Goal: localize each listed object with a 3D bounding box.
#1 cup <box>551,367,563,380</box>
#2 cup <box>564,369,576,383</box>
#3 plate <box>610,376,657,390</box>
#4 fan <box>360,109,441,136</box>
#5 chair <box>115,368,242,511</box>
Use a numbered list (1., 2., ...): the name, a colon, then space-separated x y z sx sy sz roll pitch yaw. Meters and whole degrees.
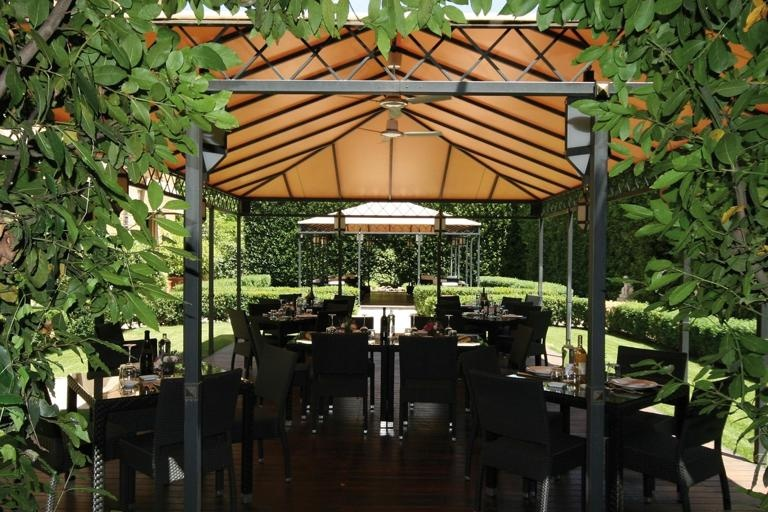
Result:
1. cup: 1.171 0.789 4.423 0.068 0.086 0.068 2 -2 0
2. cup: 1.231 0.790 4.327 0.060 0.085 0.030 -4 -19 9
3. plate: 1.620 0.831 4.297 0.262 0.061 0.261 2 -6 -23
4. fan: 0.242 -1.841 8.976 0.795 0.198 0.845 1 3 43
5. chair: -1.273 1.173 4.067 0.744 0.929 0.558 0 -6 3
